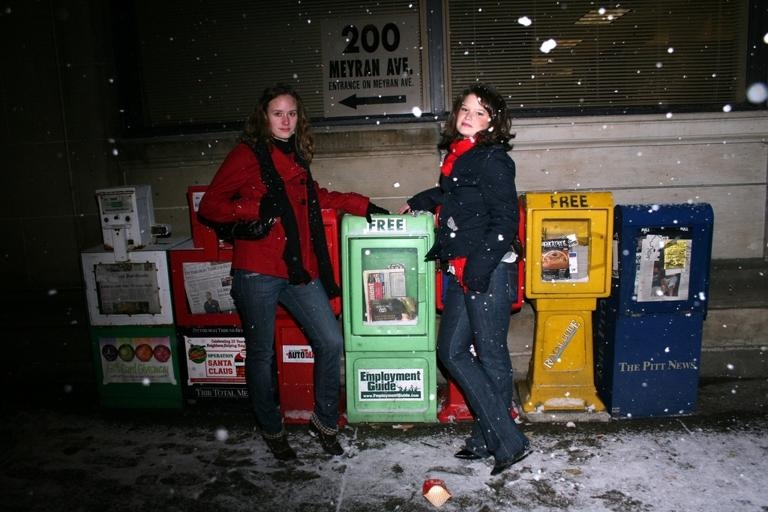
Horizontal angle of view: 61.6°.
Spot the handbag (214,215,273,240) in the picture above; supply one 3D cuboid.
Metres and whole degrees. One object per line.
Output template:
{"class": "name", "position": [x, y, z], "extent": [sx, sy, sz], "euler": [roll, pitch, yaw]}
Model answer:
{"class": "handbag", "position": [-1.191, -0.234, 5.592], "extent": [0.320, 0.113, 0.247], "euler": [-1, 11, 13]}

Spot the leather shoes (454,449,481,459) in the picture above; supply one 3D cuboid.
{"class": "leather shoes", "position": [0.756, 1.795, 5.873], "extent": [0.254, 0.096, 0.092], "euler": [6, 7, 2]}

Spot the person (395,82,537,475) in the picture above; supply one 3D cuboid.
{"class": "person", "position": [0.834, 0.214, 5.573], "extent": [0.777, 3.354, 0.445], "euler": [-1, 7, 11]}

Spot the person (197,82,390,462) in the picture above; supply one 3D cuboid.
{"class": "person", "position": [-0.947, 0.177, 5.761], "extent": [1.055, 3.339, 0.355], "euler": [-4, 7, -10]}
